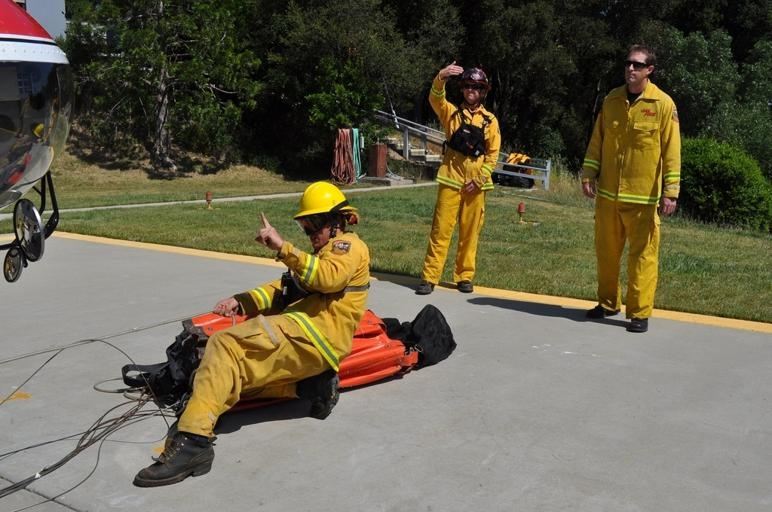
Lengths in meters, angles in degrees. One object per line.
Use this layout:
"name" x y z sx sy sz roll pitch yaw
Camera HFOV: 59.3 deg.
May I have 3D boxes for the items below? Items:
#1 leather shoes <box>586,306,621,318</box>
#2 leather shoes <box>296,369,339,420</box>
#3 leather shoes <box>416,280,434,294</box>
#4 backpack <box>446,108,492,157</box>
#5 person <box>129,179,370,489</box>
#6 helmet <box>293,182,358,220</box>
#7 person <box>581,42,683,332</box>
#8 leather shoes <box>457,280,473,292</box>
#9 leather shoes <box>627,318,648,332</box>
"leather shoes" 2.355 0.615 7.387 0.349 0.164 0.148 3 4 -6
"leather shoes" -0.527 1.066 5.255 0.220 0.532 0.204 5 15 -2
"leather shoes" 0.459 0.379 8.091 0.098 0.103 0.257 1 -3 22
"backpack" 0.999 -1.529 8.312 0.408 0.478 0.266 21 -15 -5
"person" -0.920 0.461 5.106 1.542 2.025 0.687 -3 12 -35
"helmet" -0.489 -0.441 5.368 0.522 0.297 0.394 -4 0 -28
"person" 2.551 -0.736 7.136 0.969 2.907 0.720 9 11 27
"leather shoes" 0.973 0.371 8.280 0.198 0.119 0.186 6 10 6
"leather shoes" 2.591 0.714 7.018 0.216 0.155 0.111 -7 7 -32
